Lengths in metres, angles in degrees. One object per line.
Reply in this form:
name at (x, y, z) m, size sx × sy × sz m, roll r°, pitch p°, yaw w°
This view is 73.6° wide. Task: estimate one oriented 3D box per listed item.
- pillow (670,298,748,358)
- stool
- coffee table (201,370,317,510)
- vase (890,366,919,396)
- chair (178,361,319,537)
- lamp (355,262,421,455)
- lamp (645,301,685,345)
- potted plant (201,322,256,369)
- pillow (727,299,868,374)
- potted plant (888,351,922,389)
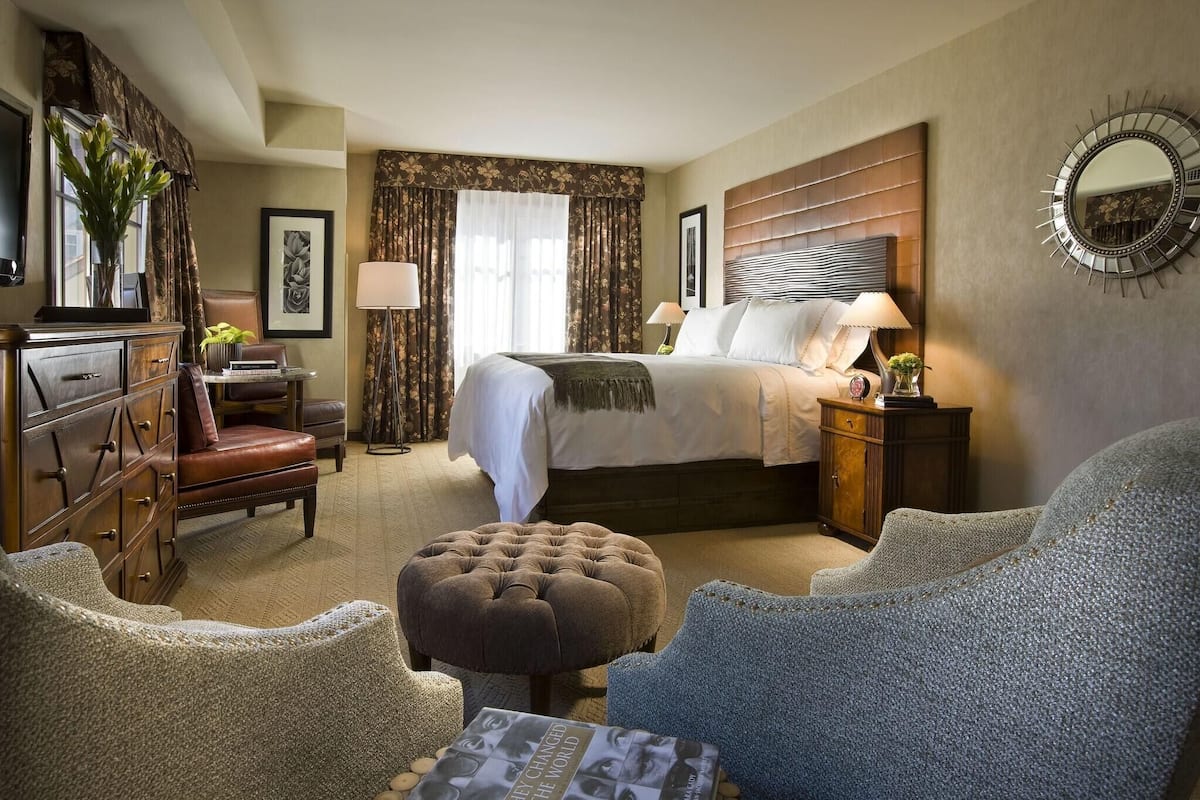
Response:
pillow at (0.815, -0.535, 5.966) m, size 0.181 × 0.376 × 0.636 m, roll 19°, pitch -6°, yaw -16°
stool at (-0.193, 0.604, 2.476) m, size 0.604 × 0.298 × 0.612 m, roll -3°, pitch 6°, yaw -31°
coffee table at (-1.835, 0.209, 4.315) m, size 0.571 × 0.709 × 0.742 m, roll -3°, pitch 7°, yaw -27°
vase at (1.591, -0.103, 4.214) m, size 0.146 × 0.162 × 0.151 m, roll -2°, pitch 6°, yaw -15°
chair at (-1.748, 0.145, 4.038) m, size 0.660 × 0.830 × 0.821 m, roll -2°, pitch 4°, yaw -31°
lamp at (-1.814, -0.382, 6.887) m, size 0.457 × 1.601 × 0.856 m, roll -1°, pitch 7°, yaw -15°
lamp at (0.609, -0.693, 7.366) m, size 0.407 × 0.426 × 0.417 m, roll 1°, pitch 7°, yaw 1°
potted plant at (-2.712, -0.384, 5.772) m, size 0.414 × 0.411 × 0.421 m, roll 2°, pitch 5°, yaw -19°
pillow at (1.158, -0.388, 4.980) m, size 0.170 × 0.518 × 0.570 m, roll 33°, pitch -13°, yaw -35°
potted plant at (1.603, -0.152, 4.232) m, size 0.170 × 0.221 × 0.210 m, roll -2°, pitch 5°, yaw -15°
